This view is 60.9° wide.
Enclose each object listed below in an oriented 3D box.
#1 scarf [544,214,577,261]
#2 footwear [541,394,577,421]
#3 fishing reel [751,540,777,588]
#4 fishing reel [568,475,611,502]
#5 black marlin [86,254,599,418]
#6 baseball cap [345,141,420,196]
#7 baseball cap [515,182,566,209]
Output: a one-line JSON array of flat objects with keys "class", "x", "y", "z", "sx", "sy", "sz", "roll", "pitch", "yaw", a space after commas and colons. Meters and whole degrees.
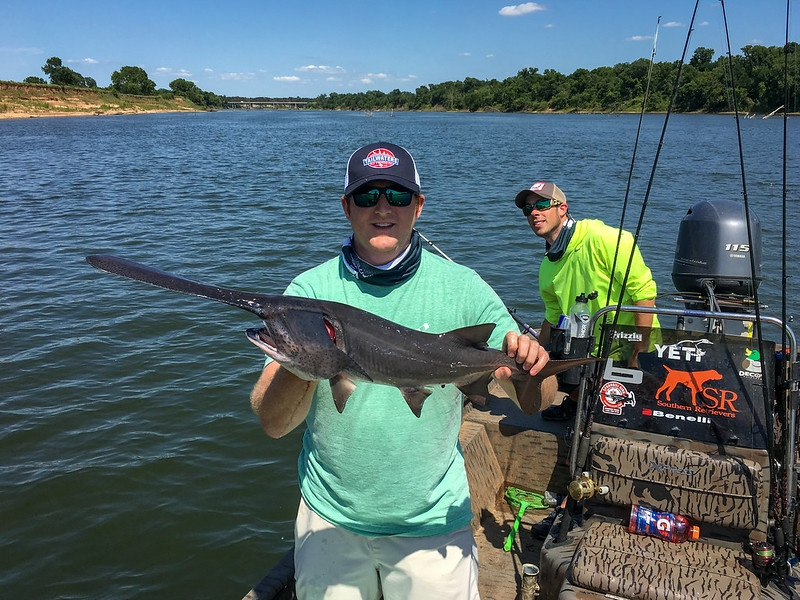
[{"class": "scarf", "x": 1.798, "y": -0.718, "z": 7.953, "sx": 0.242, "sy": 0.463, "sz": 0.447, "roll": 32, "pitch": 36, "yaw": 20}, {"class": "footwear", "x": 1.669, "y": 1.215, "z": 7.424, "sx": 0.570, "sy": 0.181, "sz": 0.177, "roll": -2, "pitch": 14, "yaw": -3}, {"class": "fishing reel", "x": 2.771, "y": 2.024, "z": 5.260, "sx": 0.251, "sy": 0.247, "sz": 0.211, "roll": 4, "pitch": -6, "yaw": -5}, {"class": "fishing reel", "x": 1.552, "y": 1.579, "z": 5.740, "sx": 0.369, "sy": 0.180, "sz": 0.176, "roll": 5, "pitch": 39, "yaw": -32}, {"class": "black marlin", "x": -0.402, "y": 0.316, "z": 4.333, "sx": 3.619, "sy": 0.728, "sz": 0.495, "roll": 14, "pitch": -11, "yaw": -21}, {"class": "baseball cap", "x": -0.115, "y": -0.928, "z": 4.823, "sx": 0.413, "sy": 0.238, "sz": 0.484, "roll": -1, "pitch": 0, "yaw": 3}, {"class": "baseball cap", "x": 1.713, "y": -1.283, "z": 8.056, "sx": 0.556, "sy": 0.225, "sz": 0.327, "roll": 18, "pitch": -11, "yaw": -16}]
